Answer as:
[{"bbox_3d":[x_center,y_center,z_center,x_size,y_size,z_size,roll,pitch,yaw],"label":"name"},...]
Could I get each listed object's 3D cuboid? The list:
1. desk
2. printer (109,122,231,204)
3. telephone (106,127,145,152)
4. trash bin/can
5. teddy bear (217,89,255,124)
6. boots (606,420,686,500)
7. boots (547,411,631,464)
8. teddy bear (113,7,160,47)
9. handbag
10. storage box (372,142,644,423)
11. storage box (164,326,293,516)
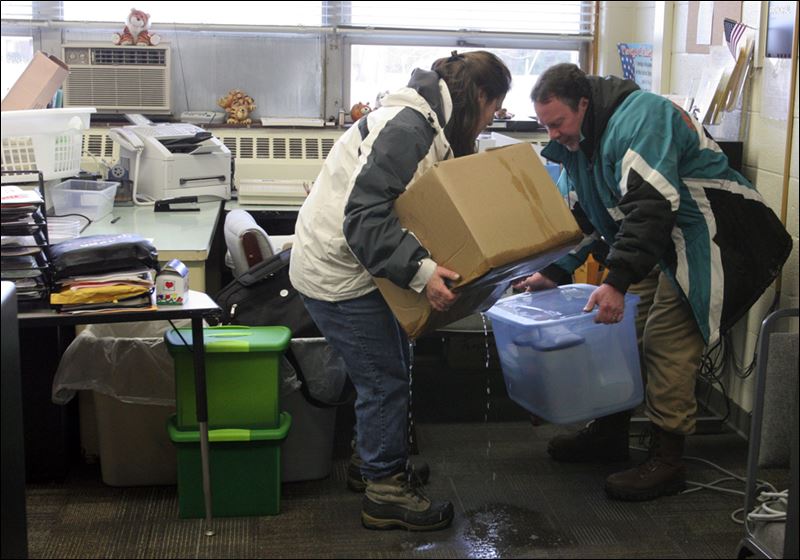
[{"bbox_3d":[-1.114,-0.179,3.390,0.653,0.294,0.619,-5,29,-14],"label":"desk"},{"bbox_3d":[-1.350,-0.651,4.039,0.548,0.391,0.521,7,12,33],"label":"printer"},{"bbox_3d":[-1.529,-0.792,3.886,0.189,0.062,0.129,34,49,23],"label":"telephone"},{"bbox_3d":[-0.726,0.522,3.067,0.926,0.748,0.770,-2,5,-6],"label":"trash bin/can"},{"bbox_3d":[-1.061,-1.104,4.503,0.222,0.215,0.137,-4,15,-4],"label":"teddy bear"},{"bbox_3d":[1.003,0.800,3.088,0.432,0.382,0.215,2,4,6],"label":"boots"},{"bbox_3d":[0.892,0.706,3.262,0.362,0.334,0.151,0,25,15],"label":"boots"},{"bbox_3d":[-1.596,-1.500,4.298,0.335,0.298,0.214,2,20,-16],"label":"teddy bear"},{"bbox_3d":[-0.580,0.069,3.030,0.389,0.161,0.323,-20,-16,-50],"label":"handbag"},{"bbox_3d":[0.486,0.057,2.684,0.574,1.153,1.039,10,19,40],"label":"storage box"},{"bbox_3d":[-0.688,0.549,3.178,0.702,0.928,0.701,-1,8,0],"label":"storage box"}]
